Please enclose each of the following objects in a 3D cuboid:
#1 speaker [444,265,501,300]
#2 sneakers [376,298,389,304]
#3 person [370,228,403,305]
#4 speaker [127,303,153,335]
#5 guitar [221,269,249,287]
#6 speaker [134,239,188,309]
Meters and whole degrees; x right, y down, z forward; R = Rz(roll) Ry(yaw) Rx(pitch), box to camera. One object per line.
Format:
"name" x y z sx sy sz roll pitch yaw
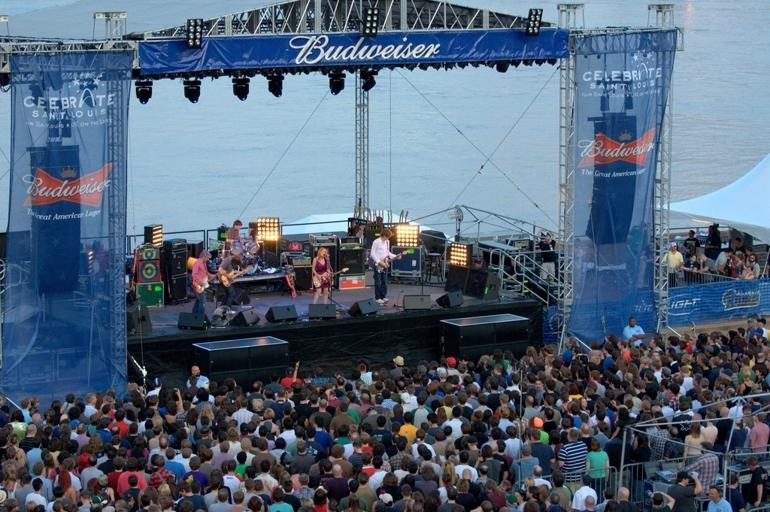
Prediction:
"speaker" 2.309 0.643 37.333 1.600 0.801 0.434 6 10 43
"sneakers" -0.092 1.142 36.734 0.122 0.125 0.321 -7 6 -40
"person" -0.061 0.201 36.854 0.790 1.925 0.544 -5 9 -43
"speaker" -6.058 1.525 33.961 0.626 0.557 0.499 7 24 30
"guitar" -3.943 0.485 35.135 0.369 0.419 0.751 3 8 27
"speaker" -5.962 0.475 36.657 0.745 1.736 1.950 3 5 40
